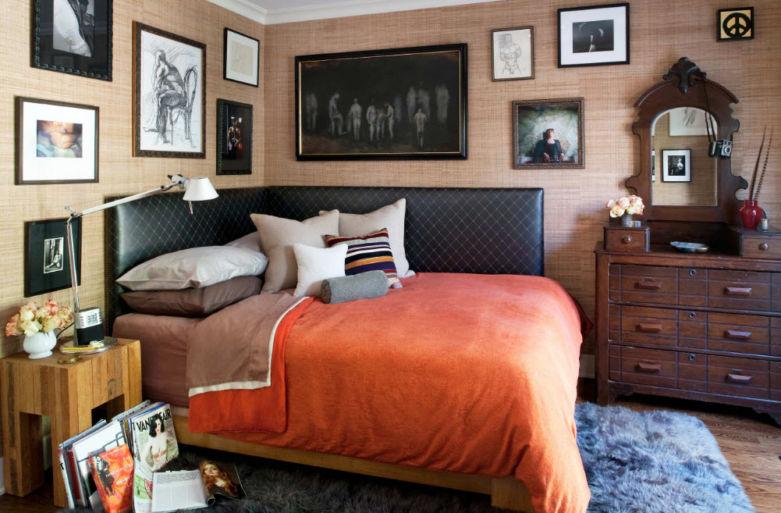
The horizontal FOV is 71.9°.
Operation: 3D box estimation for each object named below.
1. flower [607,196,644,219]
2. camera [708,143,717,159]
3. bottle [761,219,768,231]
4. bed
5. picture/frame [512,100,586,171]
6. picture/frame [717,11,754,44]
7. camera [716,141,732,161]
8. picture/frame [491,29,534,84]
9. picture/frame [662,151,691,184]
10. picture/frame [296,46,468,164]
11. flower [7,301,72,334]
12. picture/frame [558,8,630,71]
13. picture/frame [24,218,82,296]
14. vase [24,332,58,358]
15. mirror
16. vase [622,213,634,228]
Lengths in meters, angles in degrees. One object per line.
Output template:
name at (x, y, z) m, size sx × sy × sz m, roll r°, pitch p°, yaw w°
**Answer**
flower at (1.933, -0.392, 4.441) m, size 0.288 × 0.191 × 0.284 m, roll 4°, pitch 10°, yaw 24°
camera at (2.562, -0.834, 4.288) m, size 0.048 × 0.114 × 0.074 m, roll 3°, pitch 9°, yaw 21°
bottle at (2.798, -0.224, 4.042) m, size 0.087 × 0.087 × 0.037 m, roll -8°, pitch 11°, yaw -40°
bed at (-0.144, 0.602, 3.611) m, size 2.489 × 1.251 × 2.419 m, roll 1°, pitch 12°, yaw 14°
picture/frame at (1.390, -1.068, 4.648) m, size 0.658 × 0.630 × 0.068 m, roll 0°, pitch 5°, yaw 10°
picture/frame at (2.766, -1.847, 4.391) m, size 0.267 × 0.245 × 0.252 m, roll 1°, pitch 3°, yaw 14°
camera at (2.635, -0.832, 4.261) m, size 0.112 × 0.143 × 0.068 m, roll 2°, pitch 9°, yaw 17°
picture/frame at (1.071, -1.757, 4.673) m, size 0.505 × 0.552 × 0.031 m, roll 1°, pitch 9°, yaw 17°
picture/frame at (2.349, -0.734, 4.411) m, size 0.281 × 0.361 × 0.027 m, roll 1°, pitch 0°, yaw 20°
picture/frame at (-0.011, -1.424, 4.972) m, size 1.199 × 0.699 × 0.049 m, roll 1°, pitch 5°, yaw 18°
flower at (-2.135, 0.386, 3.279) m, size 0.333 × 0.185 × 0.159 m, roll -6°, pitch 10°, yaw -32°
picture/frame at (1.720, -1.838, 4.495) m, size 0.574 × 0.466 × 0.022 m, roll 1°, pitch 7°, yaw 17°
picture/frame at (-2.243, 0.017, 3.521) m, size 0.049 × 0.480 × 0.287 m, roll 6°, pitch 11°, yaw 35°
vase at (-2.118, 0.538, 3.297) m, size 0.175 × 0.136 × 0.156 m, roll 0°, pitch 2°, yaw 39°
mirror at (2.402, -0.838, 4.381) m, size 0.889 × 1.461 × 0.175 m, roll 3°, pitch 9°, yaw 19°
vase at (1.896, -0.284, 4.319) m, size 0.077 × 0.111 × 0.084 m, roll 3°, pitch 10°, yaw 22°
